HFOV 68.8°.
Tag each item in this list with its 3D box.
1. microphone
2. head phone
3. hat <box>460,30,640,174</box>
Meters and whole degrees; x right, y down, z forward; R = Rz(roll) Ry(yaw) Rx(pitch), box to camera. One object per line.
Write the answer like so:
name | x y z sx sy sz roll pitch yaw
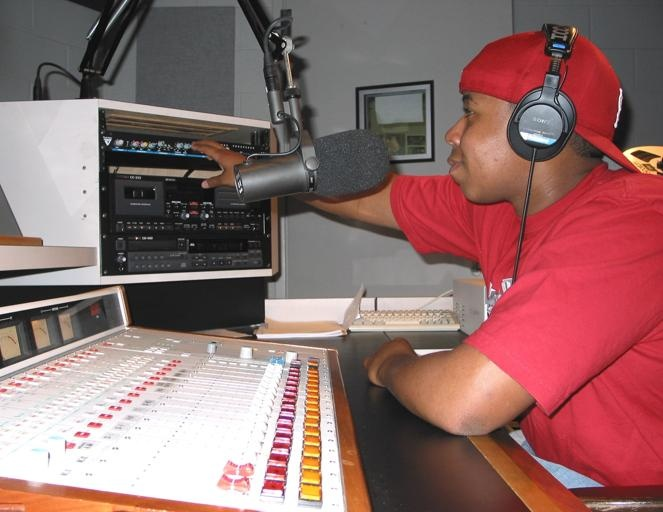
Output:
microphone | -0.026 -0.163 0.977 0.309 0.122 0.134 -14 12 -21
head phone | 0.410 -0.288 0.947 0.113 0.236 0.253 13 7 18
hat | 0.378 -0.285 0.944 0.324 0.165 0.227 20 10 1
